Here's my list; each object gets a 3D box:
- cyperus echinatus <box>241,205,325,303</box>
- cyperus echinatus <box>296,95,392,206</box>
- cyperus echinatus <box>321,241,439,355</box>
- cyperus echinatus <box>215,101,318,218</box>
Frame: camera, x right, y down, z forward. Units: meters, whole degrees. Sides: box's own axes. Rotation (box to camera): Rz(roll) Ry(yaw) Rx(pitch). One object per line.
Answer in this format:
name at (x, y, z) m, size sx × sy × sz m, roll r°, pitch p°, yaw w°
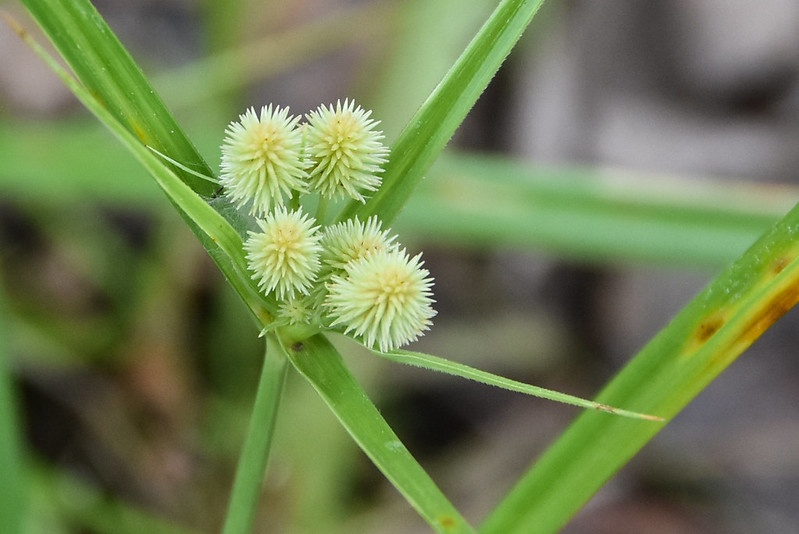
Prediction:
cyperus echinatus at (-0.277, -0.027, 1.800) m, size 0.199 × 0.221 × 0.119 m, roll -8°, pitch 2°, yaw 4°
cyperus echinatus at (-0.130, -0.288, 1.914) m, size 0.230 × 0.280 × 0.243 m, roll -14°, pitch 50°, yaw -9°
cyperus echinatus at (-0.071, 0.079, 1.888) m, size 0.247 × 0.256 × 0.263 m, roll -17°, pitch -1°, yaw -8°
cyperus echinatus at (-0.332, -0.308, 1.862) m, size 0.174 × 0.207 × 0.167 m, roll -11°, pitch 5°, yaw -43°
